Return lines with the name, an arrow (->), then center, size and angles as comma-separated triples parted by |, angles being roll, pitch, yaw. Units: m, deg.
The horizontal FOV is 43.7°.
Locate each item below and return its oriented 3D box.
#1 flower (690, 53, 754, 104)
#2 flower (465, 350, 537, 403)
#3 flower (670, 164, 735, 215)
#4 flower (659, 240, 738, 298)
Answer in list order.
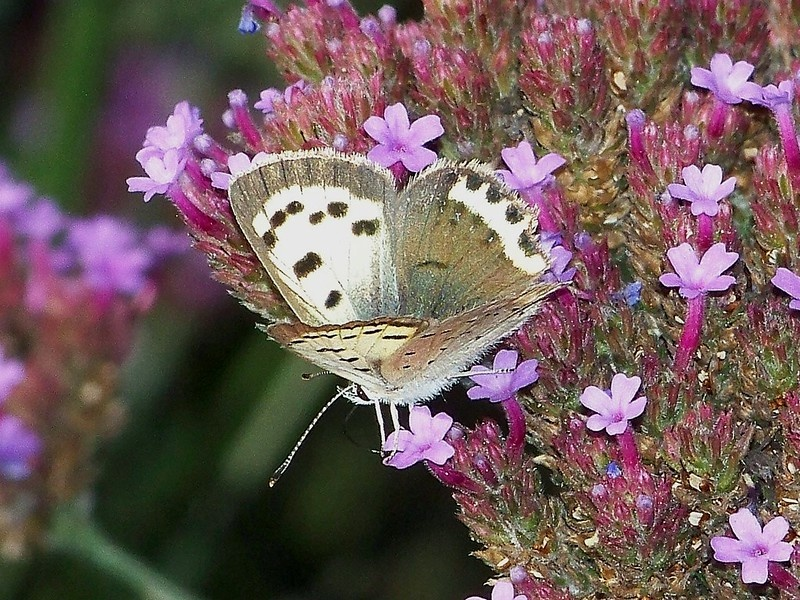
flower -> 1.250, -0.865, 3.902 | 0.200, 0.087, 0.227 | 11, 45, 9
flower -> 0.367, 0.286, 3.648 | 0.196, 0.076, 0.208 | 6, 55, 45
flower -> 1.125, -0.400, 3.712 | 0.198, 0.136, 0.207 | 19, 52, 40
flower -> 1.085, -0.169, 3.667 | 0.219, 0.094, 0.213 | -59, 17, 9
